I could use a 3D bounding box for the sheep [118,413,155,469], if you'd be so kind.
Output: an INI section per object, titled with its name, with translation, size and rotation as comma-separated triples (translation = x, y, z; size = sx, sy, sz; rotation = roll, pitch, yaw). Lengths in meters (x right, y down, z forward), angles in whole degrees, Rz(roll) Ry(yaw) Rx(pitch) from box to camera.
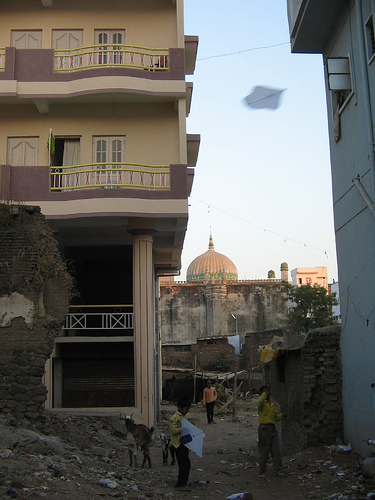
[sheep]
translation = -1.010, 3.806, 14.019
size = 0.342, 0.950, 1.320
rotation = -5, -21, 23

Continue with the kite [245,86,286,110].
[kite]
translation = 1.510, -3.041, 14.316
size = 0.159, 0.595, 0.818
rotation = 9, -13, -41
